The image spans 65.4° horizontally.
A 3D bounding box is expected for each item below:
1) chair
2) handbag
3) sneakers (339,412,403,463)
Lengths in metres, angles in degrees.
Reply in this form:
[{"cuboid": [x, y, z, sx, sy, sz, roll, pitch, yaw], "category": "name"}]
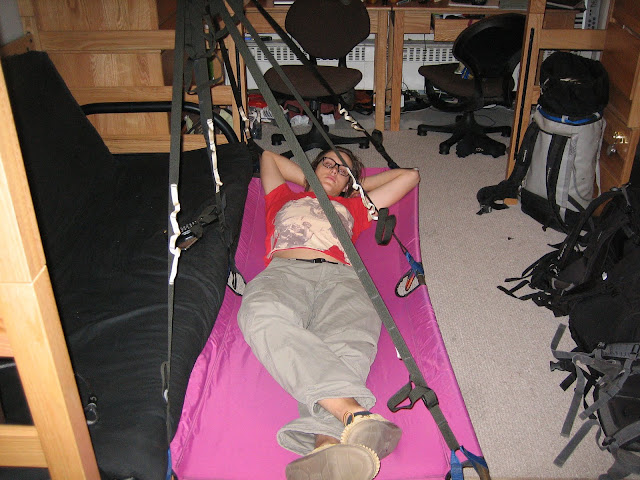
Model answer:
[{"cuboid": [0.784, -1.274, 3.956, 1.827, 1.200, 1.141, -6, 22, -9], "category": "chair"}, {"cuboid": [1.527, -0.976, 3.007, 0.368, 0.176, 0.445, 1, 56, 9], "category": "handbag"}, {"cuboid": [0.163, 0.607, 1.561, 0.186, 0.133, 0.061, 20, -6, -27], "category": "sneakers"}]
